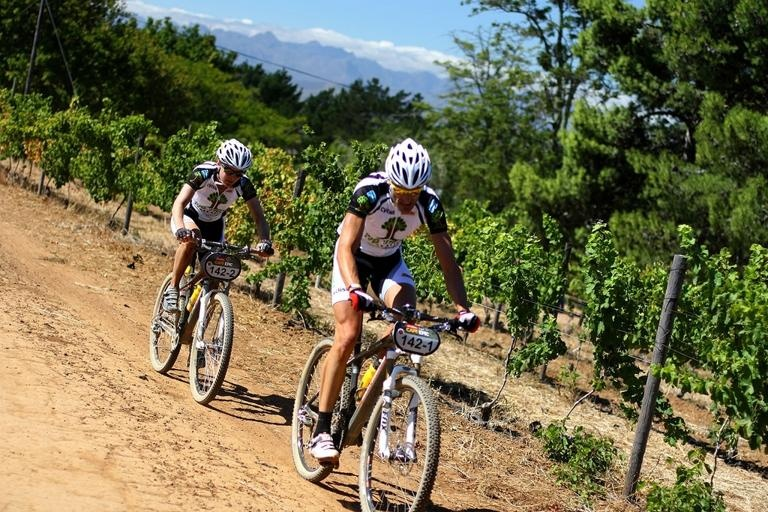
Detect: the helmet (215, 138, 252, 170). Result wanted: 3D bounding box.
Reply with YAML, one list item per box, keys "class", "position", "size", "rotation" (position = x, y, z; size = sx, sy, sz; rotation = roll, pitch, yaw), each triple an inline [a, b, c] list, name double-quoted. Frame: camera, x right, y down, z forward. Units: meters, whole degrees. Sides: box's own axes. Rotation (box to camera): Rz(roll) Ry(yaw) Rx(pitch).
- class: "helmet"
  position: [-2.569, -1.727, 14.455]
  size: [0.559, 0.456, 0.432]
  rotation: [12, 3, -14]

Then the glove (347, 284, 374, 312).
- class: "glove"
  position: [-0.331, 0.653, 12.583]
  size: [0.364, 0.162, 0.375]
  rotation: [44, 28, -24]

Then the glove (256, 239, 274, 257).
- class: "glove"
  position: [-2.045, -0.127, 14.441]
  size: [0.273, 0.223, 0.255]
  rotation: [12, 4, -12]
